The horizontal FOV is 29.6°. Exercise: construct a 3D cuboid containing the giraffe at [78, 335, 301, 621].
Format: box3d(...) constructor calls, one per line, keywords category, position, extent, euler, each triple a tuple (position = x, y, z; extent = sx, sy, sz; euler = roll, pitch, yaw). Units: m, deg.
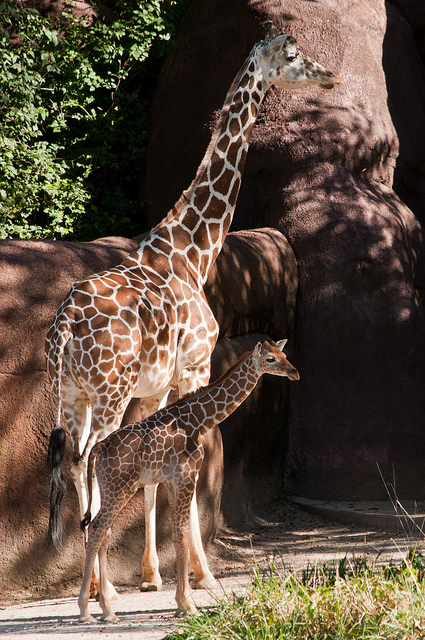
box3d(category="giraffe", position=(-0.118, 0.800, 4.215), extent=(1.153, 1.271, 0.762), euler=(1, 19, -18))
